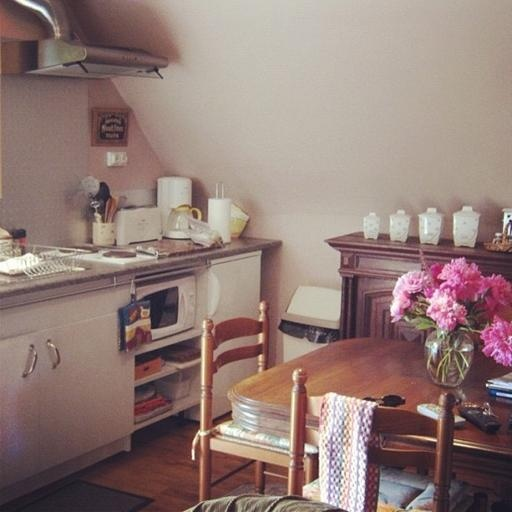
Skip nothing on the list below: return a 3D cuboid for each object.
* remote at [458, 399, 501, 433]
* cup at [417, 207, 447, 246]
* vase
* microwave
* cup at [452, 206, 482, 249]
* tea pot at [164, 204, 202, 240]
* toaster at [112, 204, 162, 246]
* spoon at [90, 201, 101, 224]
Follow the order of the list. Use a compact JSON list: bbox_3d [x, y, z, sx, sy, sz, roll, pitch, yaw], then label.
[{"bbox_3d":[0.591,0.429,1.395,0.073,0.033,0.173,-1,4,6],"label":"remote"},{"bbox_3d":[1.026,-0.174,3.081,0.126,0.220,0.230,0,4,20],"label":"cup"},{"bbox_3d":[0.565,0.300,1.595,0.130,0.161,0.157,6,11,32],"label":"vase"},{"bbox_3d":[-0.554,0.297,2.994,0.242,0.343,0.505,0,4,23],"label":"microwave"},{"bbox_3d":[1.192,-0.166,2.977,0.143,0.239,0.198,0,4,20],"label":"cup"},{"bbox_3d":[-0.520,-0.226,3.539,0.294,0.235,0.227,2,5,-7],"label":"tea pot"},{"bbox_3d":[-0.745,-0.275,3.351,0.237,0.253,0.439,10,13,38],"label":"toaster"},{"bbox_3d":[-1.011,-0.275,3.291,0.060,0.142,0.241,-3,4,-20],"label":"spoon"}]
